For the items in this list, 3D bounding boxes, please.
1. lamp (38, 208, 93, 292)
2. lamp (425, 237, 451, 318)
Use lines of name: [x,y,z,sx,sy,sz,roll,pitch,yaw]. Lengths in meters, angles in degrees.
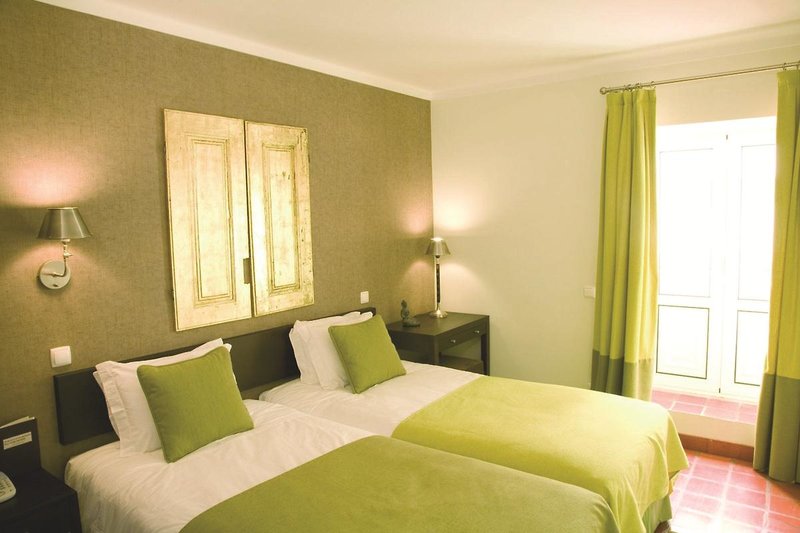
lamp: [-2.238,-0.107,3.956,0.328,0.533,0.298,-3,5,1]
lamp: [0.419,0.107,6.298,0.205,0.854,0.473,-1,4,6]
